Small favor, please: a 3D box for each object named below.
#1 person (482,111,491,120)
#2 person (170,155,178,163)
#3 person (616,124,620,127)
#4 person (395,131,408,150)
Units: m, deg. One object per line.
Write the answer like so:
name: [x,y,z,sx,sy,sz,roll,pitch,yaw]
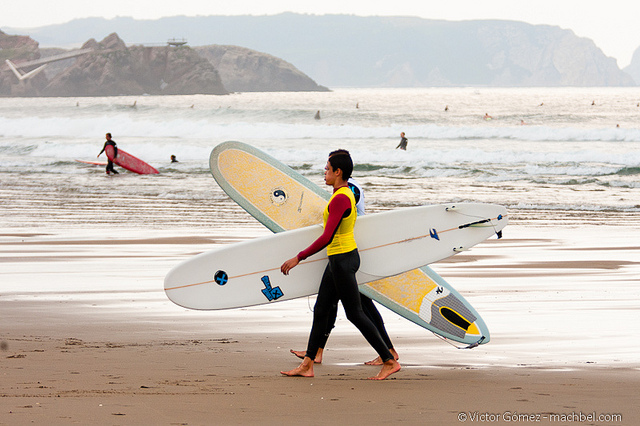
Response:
person: [26.165,-15.242,185.102,0.932,0.824,2.450,2,13,6]
person: [-19.780,-7.294,158.325,0.929,0.817,2.194,-3,12,-4]
person: [44.398,-13.138,175.763,0.756,0.255,2.068,5,16,14]
person: [11.133,-9.994,162.769,1.258,1.411,3.241,15,42,-11]
